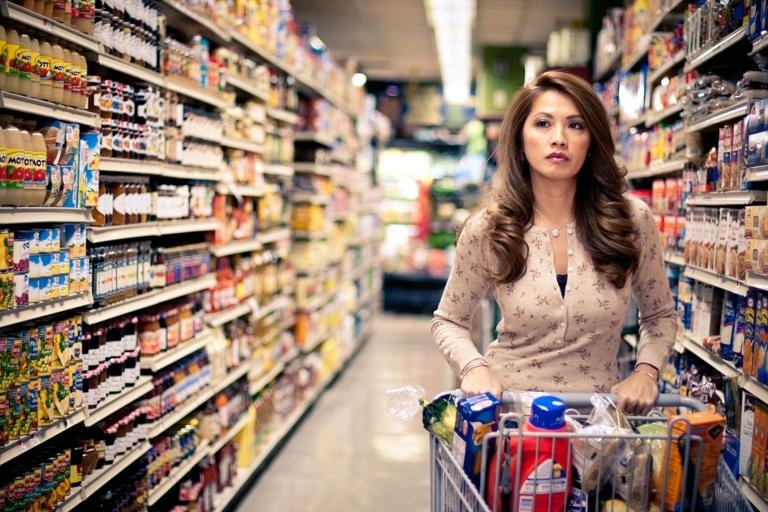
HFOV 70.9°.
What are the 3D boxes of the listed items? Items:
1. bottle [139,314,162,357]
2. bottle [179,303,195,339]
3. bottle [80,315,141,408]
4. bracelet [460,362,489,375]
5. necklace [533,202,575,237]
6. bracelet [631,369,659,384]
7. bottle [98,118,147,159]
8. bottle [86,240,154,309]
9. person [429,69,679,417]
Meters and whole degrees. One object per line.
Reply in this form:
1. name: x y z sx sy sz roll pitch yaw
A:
1. bottle: -1.265 0.426 2.910 0.109 0.210 0.071 -1 7 -26
2. bottle: -1.177 0.389 3.190 0.037 0.211 0.136 3 6 4
3. bottle: -1.345 0.510 2.640 0.085 0.366 0.331 4 7 16
4. bracelet: 0.310 0.395 1.910 0.059 0.023 0.054 -18 -22 5
5. necklace: 0.658 -0.132 2.088 0.120 0.053 0.120 8 -22 -1
6. bracelet: 0.949 0.424 1.944 0.060 0.027 0.054 38 26 33
7. bottle: -1.295 -0.572 2.636 0.237 0.115 0.314 -2 7 -33
8. bottle: -1.314 0.079 2.691 0.054 0.278 0.390 4 7 14
9. person: 0.681 -0.080 2.018 0.952 1.203 0.490 2 6 -3
